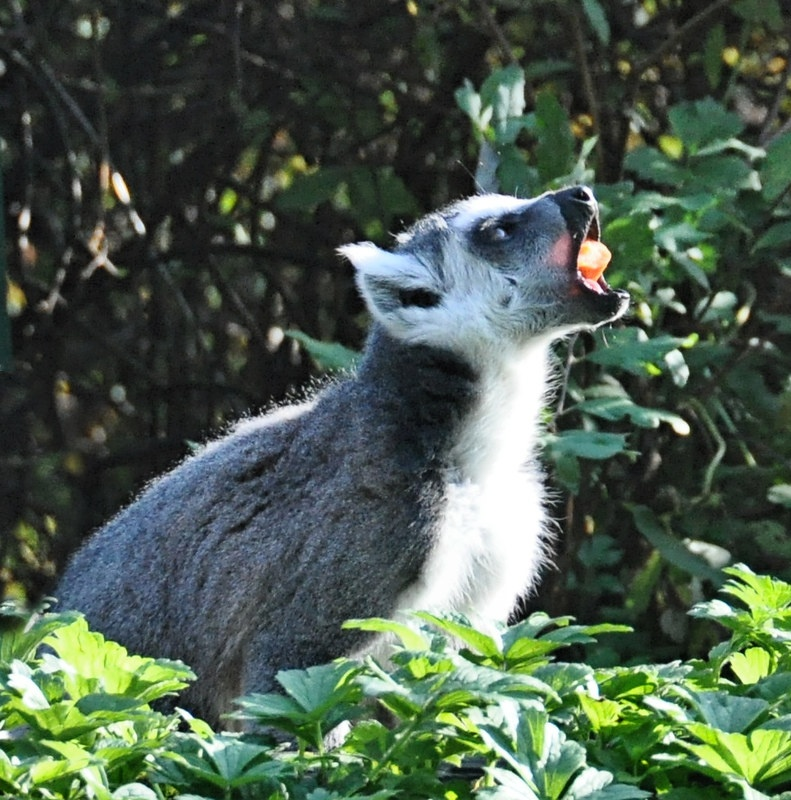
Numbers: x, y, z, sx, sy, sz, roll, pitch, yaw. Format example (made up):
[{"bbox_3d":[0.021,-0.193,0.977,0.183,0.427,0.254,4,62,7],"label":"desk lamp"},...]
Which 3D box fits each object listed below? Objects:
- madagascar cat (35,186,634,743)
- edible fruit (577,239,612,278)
[{"bbox_3d":[-0.070,0.081,4.203,1.122,1.646,0.613,12,-31,13],"label":"madagascar cat"},{"bbox_3d":[0.530,-0.385,4.363,0.110,0.104,0.047,-6,17,-34],"label":"edible fruit"}]
